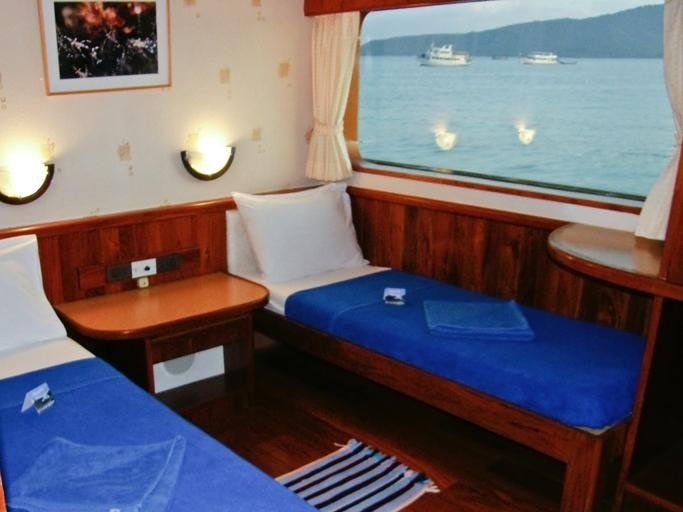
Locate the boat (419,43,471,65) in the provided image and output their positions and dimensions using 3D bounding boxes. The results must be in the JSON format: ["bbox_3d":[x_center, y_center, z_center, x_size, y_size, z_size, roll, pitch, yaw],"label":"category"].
[{"bbox_3d":[0.693,-1.389,3.655,0.402,0.160,0.122,21,34,37],"label":"boat"}]

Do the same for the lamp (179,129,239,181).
[{"bbox_3d":[-0.838,-0.642,3.363,0.319,0.289,0.074,-8,12,-36],"label":"lamp"}]

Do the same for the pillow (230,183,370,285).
[{"bbox_3d":[-0.267,-0.161,3.641,0.866,0.593,0.301,-11,11,-32],"label":"pillow"}]
